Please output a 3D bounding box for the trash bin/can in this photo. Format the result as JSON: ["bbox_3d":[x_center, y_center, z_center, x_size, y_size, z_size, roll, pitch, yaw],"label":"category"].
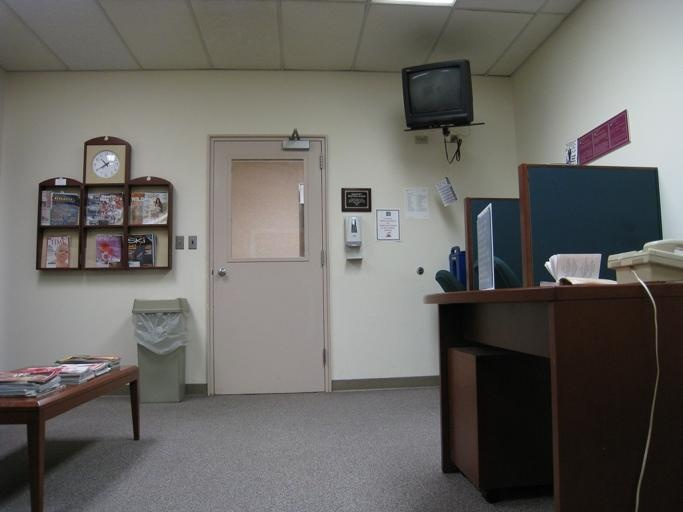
[{"bbox_3d":[-1.491,0.777,4.286,0.448,0.829,0.259,-2,3,-19],"label":"trash bin/can"}]

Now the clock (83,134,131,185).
[{"bbox_3d":[-2.058,-0.811,4.526,0.359,0.455,0.109,-3,-14,-10],"label":"clock"}]
